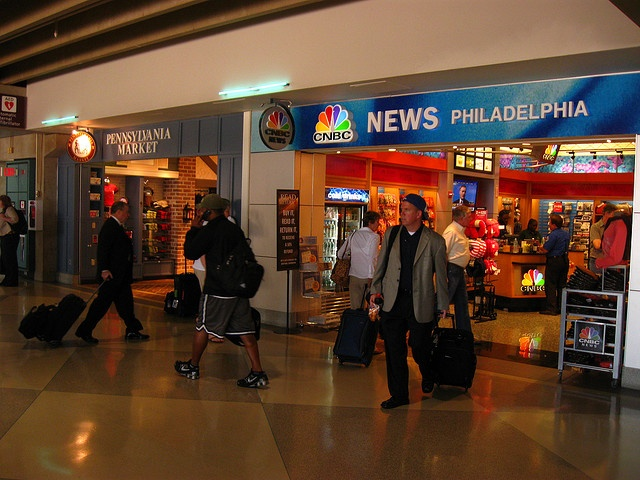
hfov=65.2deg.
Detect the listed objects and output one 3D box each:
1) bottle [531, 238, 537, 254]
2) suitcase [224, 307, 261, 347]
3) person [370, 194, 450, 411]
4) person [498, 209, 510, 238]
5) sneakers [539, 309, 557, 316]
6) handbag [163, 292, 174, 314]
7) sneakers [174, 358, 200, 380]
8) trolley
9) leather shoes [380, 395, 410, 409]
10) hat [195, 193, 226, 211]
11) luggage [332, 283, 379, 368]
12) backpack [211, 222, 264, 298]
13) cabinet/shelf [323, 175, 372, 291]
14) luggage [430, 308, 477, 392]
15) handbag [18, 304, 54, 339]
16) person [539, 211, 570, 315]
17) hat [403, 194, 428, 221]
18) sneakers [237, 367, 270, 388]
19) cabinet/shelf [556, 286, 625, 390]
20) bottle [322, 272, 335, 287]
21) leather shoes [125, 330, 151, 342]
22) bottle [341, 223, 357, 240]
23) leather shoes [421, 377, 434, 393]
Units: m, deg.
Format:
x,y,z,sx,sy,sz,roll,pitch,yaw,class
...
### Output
x,y,z,sx,sy,sz,roll,pitch,yaw,class
4.436,0.117,10.410,0.116,0.238,0.369,3,5,22,bottle
-0.879,1.061,6.015,0.380,0.519,0.538,-3,9,-12,suitcase
0.953,0.639,5.358,0.814,2.245,0.483,1,4,2,person
4.413,-0.420,12.024,0.216,0.592,0.825,3,5,20,person
4.575,1.449,10.049,0.269,0.117,0.100,7,4,34,sneakers
-2.741,1.147,9.194,0.126,0.396,0.265,-1,5,-30,handbag
-1.554,1.524,6.008,0.360,0.174,0.147,17,10,22,sneakers
3.466,1.179,6.356,0.777,1.089,0.838,4,0,23,trolley
0.784,1.701,5.334,0.333,0.134,0.112,3,0,-21,leather shoes
-1.300,-0.439,5.866,0.307,0.171,0.228,16,25,31,hat
0.468,1.199,6.732,0.461,0.763,0.413,9,9,10,luggage
-0.949,0.292,5.741,0.386,0.706,0.502,1,-7,34,backpack
0.330,-0.034,10.267,1.167,2.208,0.626,4,8,-36,cabinet/shelf
1.515,1.241,5.881,0.578,0.932,0.549,5,13,21,luggage
-3.909,1.174,6.981,0.445,0.496,0.262,-1,5,-28,handbag
4.680,0.471,10.013,0.499,1.992,0.505,3,5,27,person
1.048,-0.365,5.367,0.300,0.225,0.219,18,2,-10,hat
-0.765,1.583,5.781,0.341,0.181,0.165,4,-1,-5,sneakers
3.444,1.147,6.326,0.677,1.083,0.678,3,4,36,cabinet/shelf
0.153,0.782,10.037,0.295,0.343,0.298,0,-3,3,bottle
-2.729,1.434,7.551,0.390,0.167,0.142,-1,2,-21,leather shoes
0.533,-0.179,9.556,0.166,0.306,0.309,5,-5,-36,bottle
1.229,1.649,5.710,0.107,0.129,0.192,-4,5,17,leather shoes
